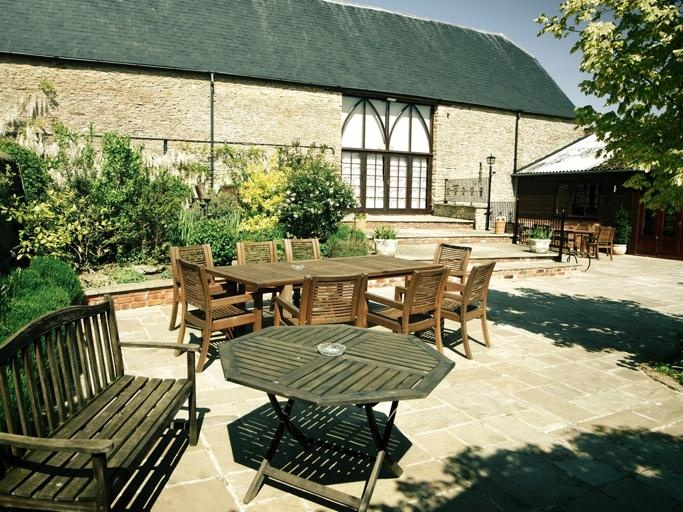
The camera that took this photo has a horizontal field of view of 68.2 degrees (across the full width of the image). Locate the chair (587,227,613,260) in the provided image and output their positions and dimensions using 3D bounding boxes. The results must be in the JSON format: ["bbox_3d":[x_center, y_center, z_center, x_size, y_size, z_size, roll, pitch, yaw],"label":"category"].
[{"bbox_3d":[8.619,-0.460,16.881,0.766,1.046,1.418,1,6,26],"label":"chair"}]

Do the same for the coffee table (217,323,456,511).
[{"bbox_3d":[0.061,1.428,4.430,1.782,0.903,1.674,8,14,29],"label":"coffee table"}]

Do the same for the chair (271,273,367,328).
[{"bbox_3d":[-0.235,0.450,5.799,0.906,0.955,0.741,-4,16,-22],"label":"chair"}]

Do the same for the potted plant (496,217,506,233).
[{"bbox_3d":[5.788,-1.131,18.518,0.312,0.591,0.877,0,5,13],"label":"potted plant"}]

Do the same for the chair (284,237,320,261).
[{"bbox_3d":[-0.583,-0.126,8.080,0.468,0.596,0.481,-3,8,-20],"label":"chair"}]

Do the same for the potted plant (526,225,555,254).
[{"bbox_3d":[5.810,-0.437,14.845,0.568,0.678,1.165,1,5,19],"label":"potted plant"}]

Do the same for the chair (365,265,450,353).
[{"bbox_3d":[0.756,0.655,6.301,1.037,0.897,0.956,3,5,17],"label":"chair"}]

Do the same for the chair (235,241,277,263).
[{"bbox_3d":[-1.303,-0.073,7.747,0.448,0.578,0.479,-2,6,-24],"label":"chair"}]

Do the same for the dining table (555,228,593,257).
[{"bbox_3d":[7.513,-0.454,16.382,1.317,0.685,0.600,-4,9,-23],"label":"dining table"}]

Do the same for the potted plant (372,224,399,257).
[{"bbox_3d":[1.157,-0.377,12.372,0.922,0.771,0.796,0,9,13],"label":"potted plant"}]
